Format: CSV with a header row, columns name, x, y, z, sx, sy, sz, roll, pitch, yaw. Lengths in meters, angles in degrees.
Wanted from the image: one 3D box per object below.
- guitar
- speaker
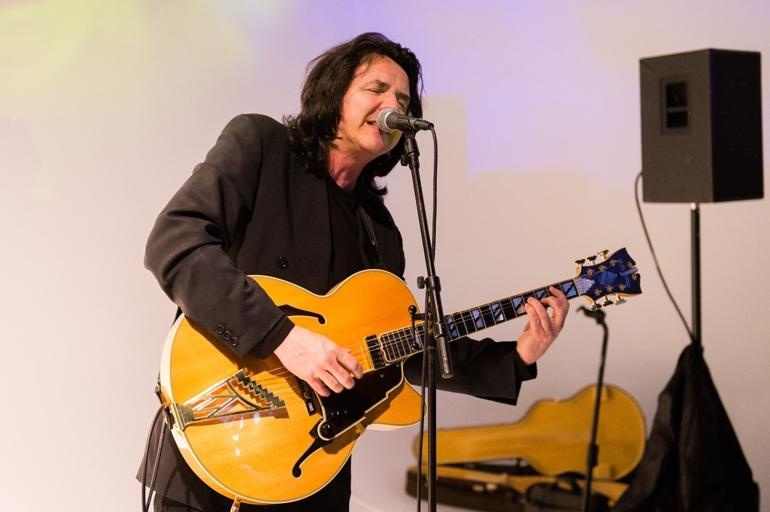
name,x,y,z,sx,sy,sz,roll,pitch,yaw
guitar,0.074,0.441,3.868,2.492,1.051,0.292,-20,4,-25
speaker,1.681,-0.694,4.094,0.641,0.805,0.325,-5,-14,7
